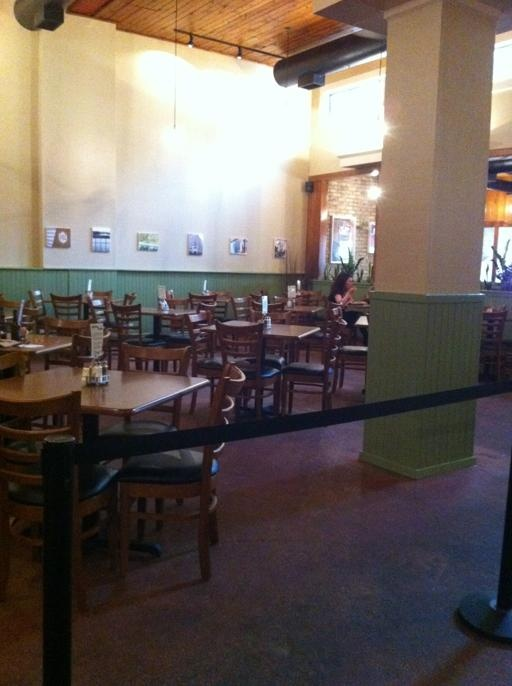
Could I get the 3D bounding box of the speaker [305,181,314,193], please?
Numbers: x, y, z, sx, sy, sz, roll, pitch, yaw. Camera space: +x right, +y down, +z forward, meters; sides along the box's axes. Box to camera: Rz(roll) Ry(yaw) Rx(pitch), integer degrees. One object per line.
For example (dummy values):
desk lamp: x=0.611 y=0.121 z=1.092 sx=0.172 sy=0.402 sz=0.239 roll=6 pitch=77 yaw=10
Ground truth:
speaker: x=1.175 y=-3.390 z=12.293 sx=0.184 sy=0.275 sz=0.139 roll=15 pitch=13 yaw=35

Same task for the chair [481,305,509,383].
chair: x=3.005 y=0.025 z=7.126 sx=0.404 sy=0.931 sz=0.656 roll=12 pitch=11 yaw=21

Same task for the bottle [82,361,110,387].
bottle: x=-0.730 y=0.139 z=2.622 sx=0.107 sy=0.103 sz=0.107 roll=4 pitch=11 yaw=13

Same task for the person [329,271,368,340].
person: x=1.241 y=-0.511 z=7.657 sx=0.524 sy=0.865 sz=0.398 roll=-6 pitch=18 yaw=-3
